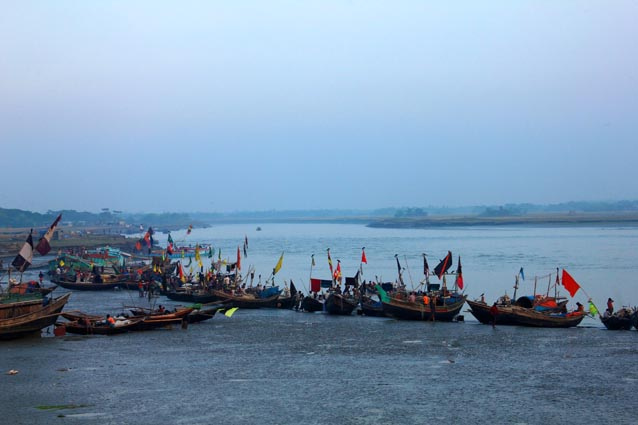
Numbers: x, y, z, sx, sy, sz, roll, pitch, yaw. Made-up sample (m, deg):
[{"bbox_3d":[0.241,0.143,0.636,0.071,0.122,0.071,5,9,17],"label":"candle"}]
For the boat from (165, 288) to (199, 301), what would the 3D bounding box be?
[{"bbox_3d":[-14.865,8.790,90.030,1.190,0.900,4.960,15,-13,-39],"label":"boat"}]

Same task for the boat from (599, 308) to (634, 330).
[{"bbox_3d":[25.950,9.562,72.853,1.113,0.790,2.617,4,-1,-19],"label":"boat"}]

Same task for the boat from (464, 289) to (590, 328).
[{"bbox_3d":[17.912,8.499,74.155,10.991,3.181,5.732,0,-11,-6],"label":"boat"}]

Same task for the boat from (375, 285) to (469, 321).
[{"bbox_3d":[9.317,8.532,77.821,8.964,2.544,2.784,2,-6,0],"label":"boat"}]

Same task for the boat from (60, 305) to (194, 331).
[{"bbox_3d":[-17.161,9.135,71.969,15.465,2.257,3.420,0,-6,-13],"label":"boat"}]

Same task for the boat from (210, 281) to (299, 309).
[{"bbox_3d":[-6.570,8.370,87.123,10.472,2.584,3.133,2,-9,5],"label":"boat"}]

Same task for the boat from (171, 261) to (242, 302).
[{"bbox_3d":[-12.106,7.863,92.621,4.166,2.065,5.926,4,7,36],"label":"boat"}]

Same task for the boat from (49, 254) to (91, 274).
[{"bbox_3d":[-31.994,6.339,106.360,3.679,1.479,3.342,3,-5,-2],"label":"boat"}]

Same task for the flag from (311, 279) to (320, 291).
[{"bbox_3d":[-0.503,7.407,86.593,1.483,1.309,0.162,3,6,-3],"label":"flag"}]

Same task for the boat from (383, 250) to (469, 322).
[{"bbox_3d":[9.698,6.919,79.432,11.033,6.319,3.735,4,-6,-34],"label":"boat"}]

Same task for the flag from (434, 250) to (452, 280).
[{"bbox_3d":[14.905,6.325,101.669,0.809,2.061,4.638,-9,-13,-11],"label":"flag"}]

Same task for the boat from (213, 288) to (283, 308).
[{"bbox_3d":[-8.446,8.955,86.570,8.189,1.788,2.246,2,-9,-2],"label":"boat"}]
